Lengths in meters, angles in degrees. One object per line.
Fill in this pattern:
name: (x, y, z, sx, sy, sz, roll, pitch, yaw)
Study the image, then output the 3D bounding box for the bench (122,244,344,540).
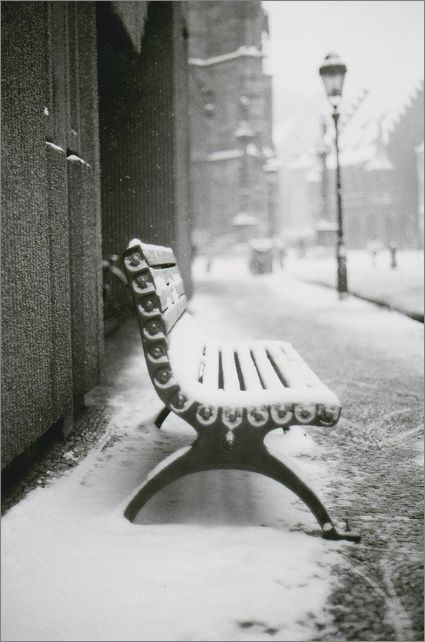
bench: (0.104, 0.174, 3.108, 0.815, 1.043, 1.068, 2, 10, 3)
